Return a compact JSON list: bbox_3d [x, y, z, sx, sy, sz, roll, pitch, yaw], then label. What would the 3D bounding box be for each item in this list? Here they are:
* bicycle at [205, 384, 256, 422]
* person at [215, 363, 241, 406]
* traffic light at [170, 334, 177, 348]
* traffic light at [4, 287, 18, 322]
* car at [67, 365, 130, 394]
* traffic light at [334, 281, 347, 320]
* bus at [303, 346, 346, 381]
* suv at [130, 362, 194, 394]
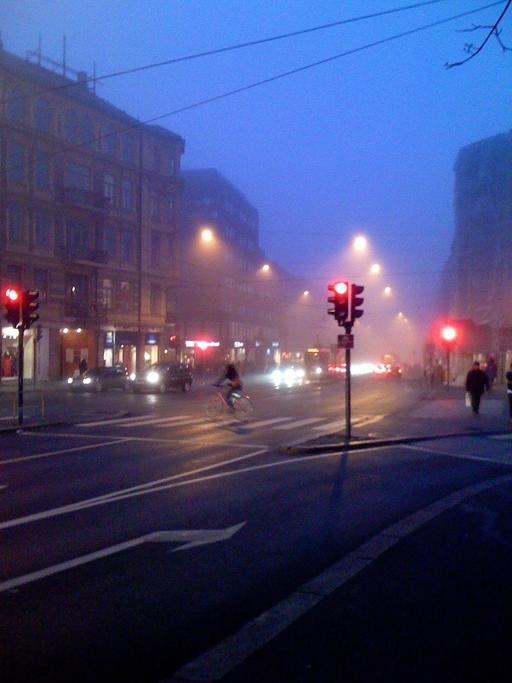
[{"bbox_3d":[-0.726,1.748,19.418,1.432,1.120,0.717,10,10,40],"label":"bicycle"},{"bbox_3d":[-0.749,1.112,18.910,0.533,1.261,0.455,-5,16,-7],"label":"person"},{"bbox_3d":[-6.109,-0.058,52.175,0.511,1.182,0.647,0,5,-3],"label":"traffic light"},{"bbox_3d":[-5.768,-0.848,16.574,0.302,0.911,0.450,0,-1,-29],"label":"traffic light"},{"bbox_3d":[-7.911,1.934,35.405,1.153,1.166,2.926,-4,-8,28],"label":"car"},{"bbox_3d":[1.688,-0.801,13.730,0.336,0.752,0.211,0,-1,-41],"label":"traffic light"},{"bbox_3d":[7.072,2.170,73.606,2.134,3.549,8.446,-2,-2,8],"label":"bus"},{"bbox_3d":[-4.603,1.727,34.458,1.335,1.502,2.673,-4,-9,34],"label":"suv"}]
